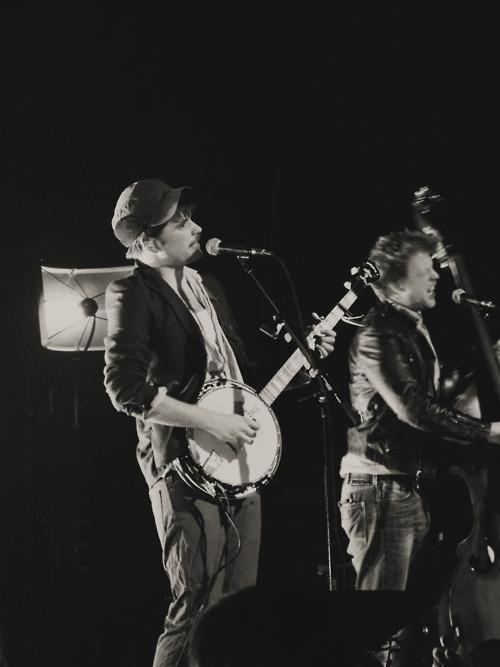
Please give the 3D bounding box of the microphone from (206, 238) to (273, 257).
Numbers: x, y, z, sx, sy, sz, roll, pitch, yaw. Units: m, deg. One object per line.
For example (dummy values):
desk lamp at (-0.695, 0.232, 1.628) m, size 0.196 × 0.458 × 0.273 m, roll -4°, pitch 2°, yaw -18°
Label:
microphone at (-0.028, -0.356, 3.835) m, size 0.334 × 0.078 × 0.091 m, roll 4°, pitch -6°, yaw 1°

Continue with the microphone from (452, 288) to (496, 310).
microphone at (0.989, -0.141, 3.973) m, size 0.212 × 0.075 × 0.070 m, roll 15°, pitch -34°, yaw 9°

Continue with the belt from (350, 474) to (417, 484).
belt at (0.565, 0.619, 3.790) m, size 0.294 × 0.046 × 0.010 m, roll 5°, pitch -6°, yaw -4°
